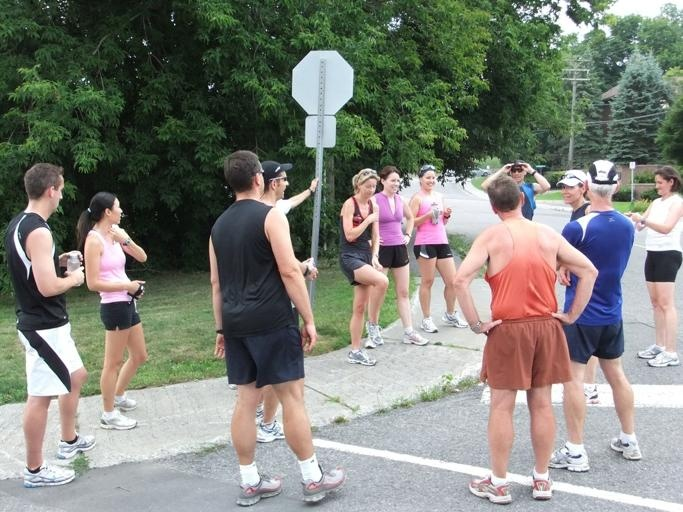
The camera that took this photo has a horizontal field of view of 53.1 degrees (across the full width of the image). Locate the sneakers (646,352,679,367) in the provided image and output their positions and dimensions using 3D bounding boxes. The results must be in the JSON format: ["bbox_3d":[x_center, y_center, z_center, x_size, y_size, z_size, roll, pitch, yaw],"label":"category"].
[{"bbox_3d":[4.122,1.334,8.772,0.392,0.188,0.168,-1,-1,1],"label":"sneakers"}]

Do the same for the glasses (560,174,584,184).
[{"bbox_3d":[2.592,-0.851,7.561,0.202,0.102,0.129,1,-1,-41],"label":"glasses"}]

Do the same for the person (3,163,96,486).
[{"bbox_3d":[-2.736,0.599,6.384,0.694,2.830,1.017,-6,14,-21],"label":"person"}]

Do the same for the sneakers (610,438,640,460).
[{"bbox_3d":[2.721,1.819,6.568,0.126,0.140,0.298,-8,19,-14],"label":"sneakers"}]

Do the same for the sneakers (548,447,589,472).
[{"bbox_3d":[2.136,1.909,6.440,0.392,0.188,0.184,2,4,19],"label":"sneakers"}]

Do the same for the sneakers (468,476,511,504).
[{"bbox_3d":[1.309,2.021,6.056,0.399,0.207,0.159,10,7,42],"label":"sneakers"}]

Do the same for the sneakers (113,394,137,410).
[{"bbox_3d":[-2.356,1.596,7.432,0.252,0.118,0.106,9,15,-36],"label":"sneakers"}]

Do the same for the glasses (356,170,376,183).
[{"bbox_3d":[0.321,-1.054,8.848,0.220,0.178,0.166,-4,26,24],"label":"glasses"}]

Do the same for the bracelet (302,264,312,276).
[{"bbox_3d":[-0.346,0.141,6.931,0.094,0.101,0.101,-3,22,-19],"label":"bracelet"}]

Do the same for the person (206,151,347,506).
[{"bbox_3d":[-0.619,0.614,6.022,0.936,2.991,0.990,-4,13,-13],"label":"person"}]

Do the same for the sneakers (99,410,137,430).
[{"bbox_3d":[-2.321,1.712,7.145,0.367,0.188,0.169,3,5,-5],"label":"sneakers"}]

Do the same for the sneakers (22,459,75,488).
[{"bbox_3d":[-2.664,2.014,6.338,0.489,0.240,0.193,1,5,-13],"label":"sneakers"}]

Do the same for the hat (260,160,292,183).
[{"bbox_3d":[-0.612,-0.816,6.713,0.302,0.156,0.197,-19,28,-21],"label":"hat"}]

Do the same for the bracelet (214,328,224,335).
[{"bbox_3d":[-1.110,0.698,6.267,0.100,0.030,0.093,-1,4,-27],"label":"bracelet"}]

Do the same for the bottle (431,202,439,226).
[{"bbox_3d":[1.408,-0.639,10.236,0.086,0.261,0.159,-2,-2,-34],"label":"bottle"}]

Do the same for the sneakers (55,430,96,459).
[{"bbox_3d":[-2.570,1.848,6.678,0.151,0.183,0.368,9,15,37],"label":"sneakers"}]

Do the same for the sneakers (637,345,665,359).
[{"bbox_3d":[4.086,1.276,9.029,0.324,0.142,0.137,-21,4,20],"label":"sneakers"}]

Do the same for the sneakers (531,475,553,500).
[{"bbox_3d":[1.748,2.024,5.901,0.106,0.129,0.277,-3,-10,11],"label":"sneakers"}]
